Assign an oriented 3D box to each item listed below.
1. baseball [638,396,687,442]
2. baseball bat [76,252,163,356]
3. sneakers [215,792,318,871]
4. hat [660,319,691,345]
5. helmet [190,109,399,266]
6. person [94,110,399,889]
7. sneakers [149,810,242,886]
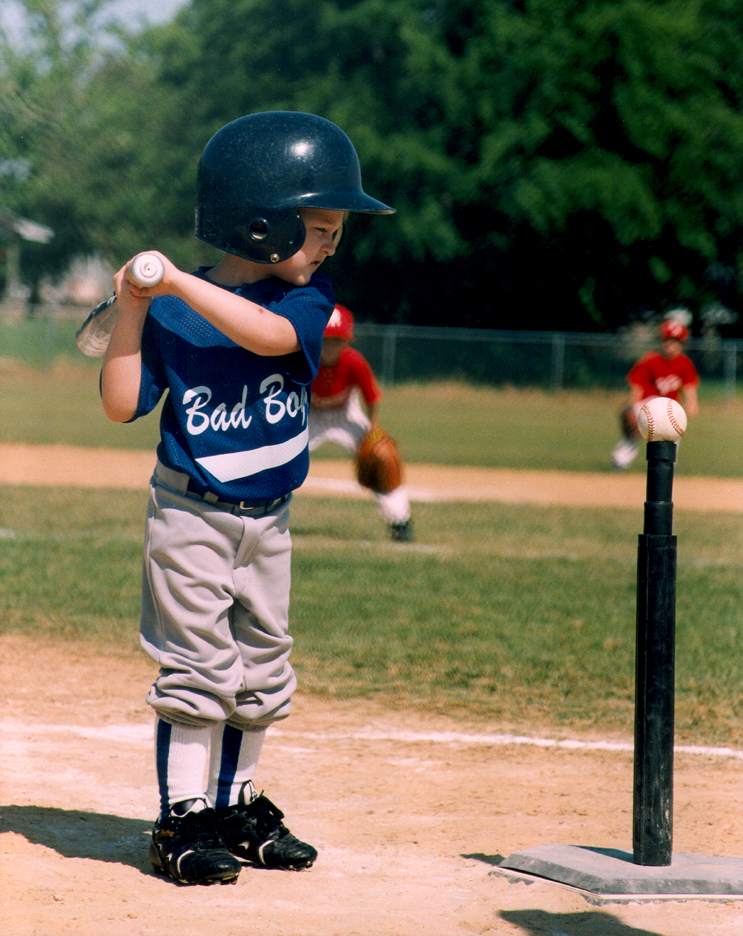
[{"bbox_3d":[0.707,-0.120,5.077,0.117,0.104,0.109,3,-19,-5],"label":"baseball"},{"bbox_3d":[-0.615,-0.375,5.117,0.090,0.109,0.476,-47,3,-30],"label":"baseball bat"},{"bbox_3d":[-0.266,0.892,5.231,0.349,0.143,0.117,10,16,37],"label":"sneakers"},{"bbox_3d":[1.394,-0.622,9.764,0.093,0.111,0.117,9,38,0],"label":"hat"},{"bbox_3d":[-0.167,-0.706,5.212,0.535,0.352,0.370,-1,16,8],"label":"helmet"},{"bbox_3d":[-0.296,0.059,5.137,0.592,1.817,0.490,-6,13,-32],"label":"person"},{"bbox_3d":[-0.423,0.915,5.049,0.115,0.125,0.283,0,1,-32],"label":"sneakers"}]
